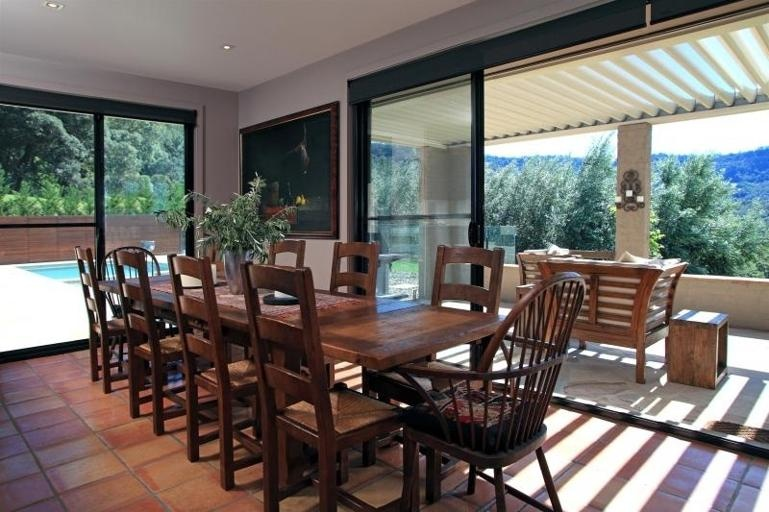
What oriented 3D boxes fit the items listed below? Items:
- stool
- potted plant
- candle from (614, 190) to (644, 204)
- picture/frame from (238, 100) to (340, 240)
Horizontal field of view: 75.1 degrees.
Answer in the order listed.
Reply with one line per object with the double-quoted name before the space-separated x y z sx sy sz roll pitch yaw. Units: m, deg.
"stool" 3.183 0.939 5.066 0.453 0.585 0.786 1 2 40
"potted plant" -1.164 -0.148 4.292 0.759 0.648 0.946 10 -3 38
"candle" 4.244 -0.978 8.629 0.437 0.324 0.048 5 10 35
"picture/frame" -1.123 -1.065 6.230 2.257 1.652 0.099 2 4 43
